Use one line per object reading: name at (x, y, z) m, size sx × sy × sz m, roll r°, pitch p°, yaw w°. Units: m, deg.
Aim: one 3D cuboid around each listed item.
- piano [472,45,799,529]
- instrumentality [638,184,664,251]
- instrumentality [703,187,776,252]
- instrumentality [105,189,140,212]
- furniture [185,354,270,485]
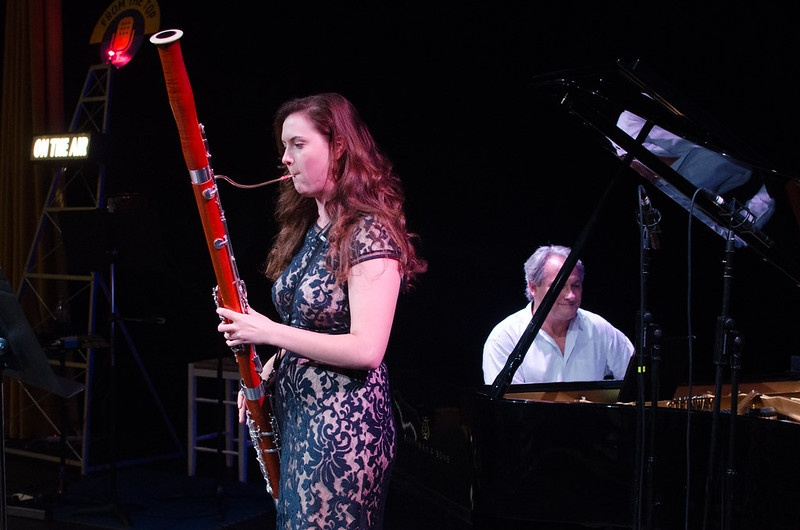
piano at (1.532, 0.043, 5.340) m, size 2.348 × 2.293 × 2.028 m, roll -1°, pitch -5°, yaw 0°
instrumentality at (1.353, -0.253, 4.366) m, size 0.116 × 0.325 × 0.428 m, roll 3°, pitch -3°, yaw 20°
instrumentality at (1.943, -0.318, 4.522) m, size 0.570 × 0.187 × 0.178 m, roll 38°, pitch 3°, yaw -39°
instrumentality at (-2.154, -0.487, 6.214) m, size 0.145 × 0.105 × 0.201 m, roll 0°, pitch 1°, yaw 40°
furniture at (-1.379, 1.291, 6.721) m, size 0.731 × 0.933 × 0.709 m, roll 1°, pitch -3°, yaw -25°
